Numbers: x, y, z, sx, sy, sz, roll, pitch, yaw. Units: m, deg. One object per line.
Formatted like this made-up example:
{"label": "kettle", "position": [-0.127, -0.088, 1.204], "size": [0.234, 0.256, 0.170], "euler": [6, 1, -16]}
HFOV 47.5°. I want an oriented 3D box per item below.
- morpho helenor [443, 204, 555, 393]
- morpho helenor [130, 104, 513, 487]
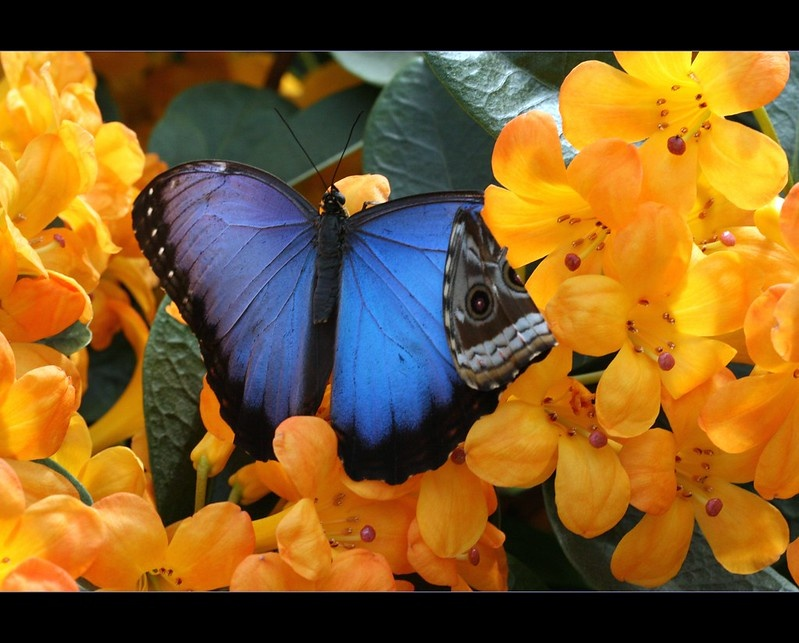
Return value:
{"label": "morpho helenor", "position": [0.075, -0.015, 0.759], "size": [0.072, 0.143, 0.098], "euler": [-13, 19, -12]}
{"label": "morpho helenor", "position": [-0.074, -0.012, 0.881], "size": [0.391, 0.285, 0.091], "euler": [15, -7, 14]}
